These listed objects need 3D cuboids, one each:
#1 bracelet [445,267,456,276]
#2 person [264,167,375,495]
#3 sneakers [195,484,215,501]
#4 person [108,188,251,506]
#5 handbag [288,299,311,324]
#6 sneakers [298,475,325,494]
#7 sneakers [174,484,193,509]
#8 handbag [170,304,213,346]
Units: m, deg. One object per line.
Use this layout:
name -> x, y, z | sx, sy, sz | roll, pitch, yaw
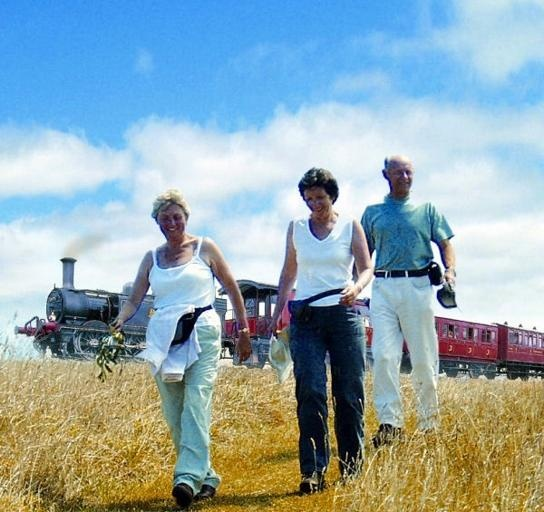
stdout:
bracelet -> 1.513, 0.133, 6.565 | 0.087, 0.058, 0.043 | 10, -1, -2
person -> 0.376, 0.550, 5.759 | 0.824, 2.278, 0.559 | 7, -1, 15
sneakers -> -0.484, 1.723, 5.624 | 0.102, 0.112, 0.210 | 9, -1, 11
person -> -0.593, 0.628, 5.578 | 0.818, 2.252, 0.732 | 7, -1, -2
handbag -> 0.199, 0.410, 5.670 | 0.105, 0.166, 0.168 | -1, -22, 0
sneakers -> 0.272, 1.618, 5.475 | 0.077, 0.122, 0.243 | -5, -19, 13
sneakers -> -0.604, 1.622, 5.266 | 0.074, 0.235, 0.094 | -2, 26, 5
handbag -> -0.602, 0.499, 5.571 | 0.243, 0.093, 0.185 | -39, 13, -2
